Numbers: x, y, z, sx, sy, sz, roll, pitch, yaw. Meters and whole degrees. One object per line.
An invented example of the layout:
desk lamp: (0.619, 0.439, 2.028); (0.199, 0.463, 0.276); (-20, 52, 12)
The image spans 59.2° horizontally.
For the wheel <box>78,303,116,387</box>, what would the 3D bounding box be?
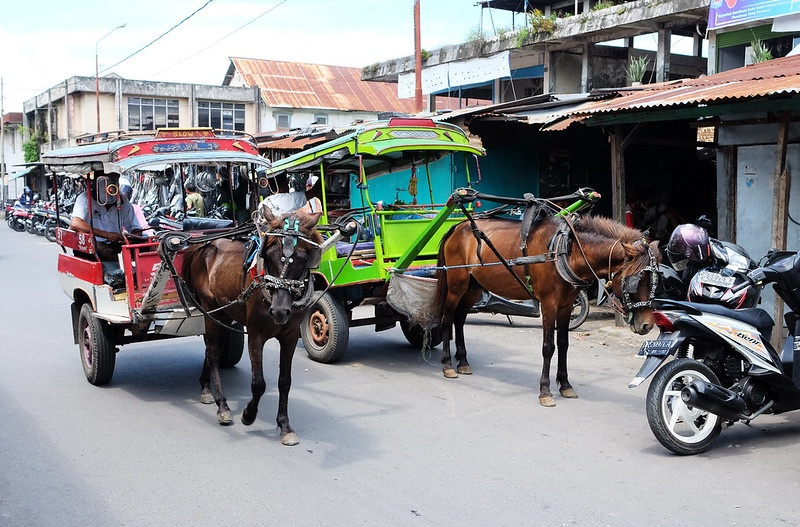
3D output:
wheel: (-4.001, 1.066, 9.314); (0.312, 0.884, 0.786); (-1, 30, -33)

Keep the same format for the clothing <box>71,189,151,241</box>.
clothing: (-4.304, -0.798, 10.185); (1.124, 0.858, 0.606); (4, 2, -42)

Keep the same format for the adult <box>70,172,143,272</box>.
adult: (-4.161, -0.602, 9.975); (1.089, 1.584, 0.954); (1, -1, 44)

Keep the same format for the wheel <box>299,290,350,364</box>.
wheel: (-1.064, 0.892, 10.084); (0.324, 1.007, 0.893); (1, 20, -43)

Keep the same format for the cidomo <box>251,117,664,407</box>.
cidomo: (1.348, -0.612, 10.758); (7.654, 4.310, 2.574); (2, 4, 42)

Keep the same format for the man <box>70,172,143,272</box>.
man: (-4.213, -0.592, 9.994); (0.967, 1.513, 0.907); (1, -2, 32)

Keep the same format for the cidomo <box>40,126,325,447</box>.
cidomo: (-2.794, 0.095, 9.528); (2.441, 3.450, 5.447); (-4, 9, -44)

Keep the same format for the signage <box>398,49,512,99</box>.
signage: (1.657, -6.289, 23.137); (4.263, 0.891, 0.316); (-3, 9, 29)

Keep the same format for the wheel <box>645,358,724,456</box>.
wheel: (2.995, 1.481, 7.345); (0.973, 1.057, 0.238); (5, 1, -22)

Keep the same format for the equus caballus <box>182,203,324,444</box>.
equus caballus: (-1.710, 0.584, 8.157); (0.845, 2.625, 1.985); (-8, 14, -35)
